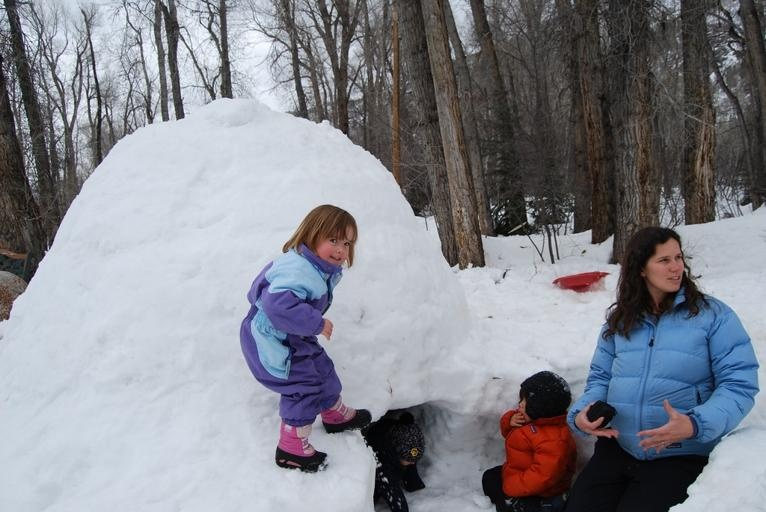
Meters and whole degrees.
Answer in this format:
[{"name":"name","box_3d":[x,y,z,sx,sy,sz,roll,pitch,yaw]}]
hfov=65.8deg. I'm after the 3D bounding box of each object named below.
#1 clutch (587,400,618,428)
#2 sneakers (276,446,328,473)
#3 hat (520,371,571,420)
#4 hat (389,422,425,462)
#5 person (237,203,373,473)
[{"name":"clutch","box_3d":[2.043,1.468,5.481,0.146,0.229,0.124,36,17,19]},{"name":"sneakers","box_3d":[-0.743,1.853,5.489,0.450,0.233,0.201,-1,1,-4]},{"name":"hat","box_3d":[1.696,1.469,6.160,0.590,0.555,0.462,2,-7,1]},{"name":"hat","box_3d":[0.248,1.922,6.325,0.285,0.330,0.400,3,30,-24]},{"name":"person","box_3d":[-0.720,0.759,5.499,1.136,2.351,0.493,-10,8,-18]}]
